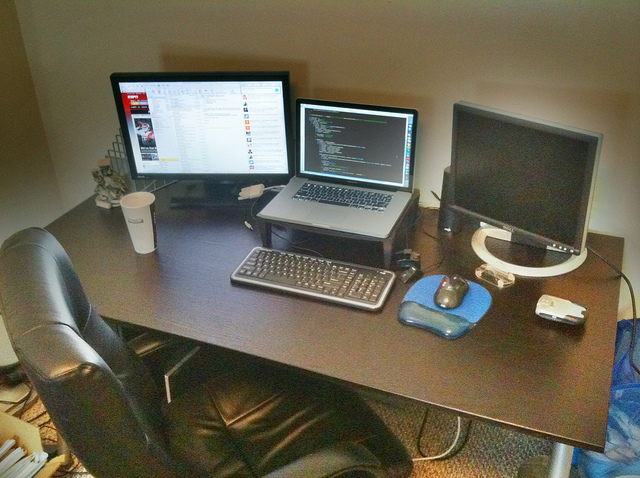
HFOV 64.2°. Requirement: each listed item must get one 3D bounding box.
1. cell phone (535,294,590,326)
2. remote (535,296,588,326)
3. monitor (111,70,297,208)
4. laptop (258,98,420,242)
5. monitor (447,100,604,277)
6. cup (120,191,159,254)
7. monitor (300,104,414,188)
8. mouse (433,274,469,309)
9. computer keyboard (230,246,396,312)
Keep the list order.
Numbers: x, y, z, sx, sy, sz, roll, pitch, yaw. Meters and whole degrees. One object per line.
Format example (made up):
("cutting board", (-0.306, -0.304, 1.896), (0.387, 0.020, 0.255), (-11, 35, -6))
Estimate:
("cell phone", (0.663, 0.189, 1.396), (0.124, 0.037, 0.070), (17, 46, 20))
("remote", (0.661, 0.194, 1.386), (0.115, 0.031, 0.063), (15, 49, 20))
("monitor", (-0.393, -0.375, 1.880), (0.672, 0.492, 0.165), (1, 33, 7))
("laptop", (0.056, -0.242, 1.651), (0.475, 0.290, 0.348), (7, 37, 15))
("monitor", (0.597, -0.152, 1.536), (0.446, 0.478, 0.188), (17, 31, 29))
("cup", (-0.588, -0.046, 1.670), (0.116, 0.171, 0.112), (0, 26, 0))
("monitor", (0.118, -0.322, 1.739), (0.411, 0.265, 0.009), (4, -1, -13))
("mouse", (0.381, 0.134, 1.459), (0.081, 0.049, 0.140), (16, 64, 20))
("computer keyboard", (-0.022, 0.113, 1.538), (0.476, 0.072, 0.153), (9, 27, 15))
